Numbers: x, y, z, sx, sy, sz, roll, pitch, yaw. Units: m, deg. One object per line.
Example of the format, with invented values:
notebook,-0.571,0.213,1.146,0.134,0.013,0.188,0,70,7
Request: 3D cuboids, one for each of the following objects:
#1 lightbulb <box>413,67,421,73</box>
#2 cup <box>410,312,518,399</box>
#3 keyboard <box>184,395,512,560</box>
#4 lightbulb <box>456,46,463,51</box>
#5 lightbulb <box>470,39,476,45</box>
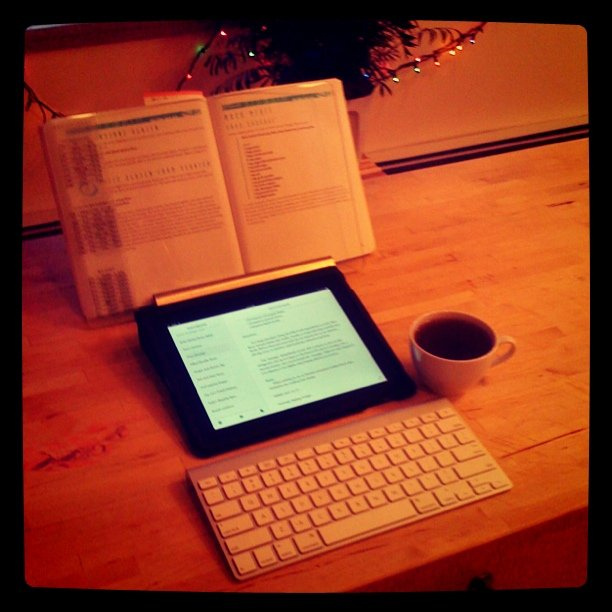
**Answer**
lightbulb,0.252,-0.537,1.281,0.019,0.012,0.006,-22,22,-30
cup,0.178,0.053,0.692,0.128,0.079,0.103,1,39,5
keyboard,0.044,0.186,0.607,0.318,0.075,0.123,-15,19,-14
lightbulb,0.346,-0.585,1.277,0.013,0.011,0.020,-1,21,27
lightbulb,0.378,-0.602,1.280,0.007,0.005,0.009,3,-7,2
